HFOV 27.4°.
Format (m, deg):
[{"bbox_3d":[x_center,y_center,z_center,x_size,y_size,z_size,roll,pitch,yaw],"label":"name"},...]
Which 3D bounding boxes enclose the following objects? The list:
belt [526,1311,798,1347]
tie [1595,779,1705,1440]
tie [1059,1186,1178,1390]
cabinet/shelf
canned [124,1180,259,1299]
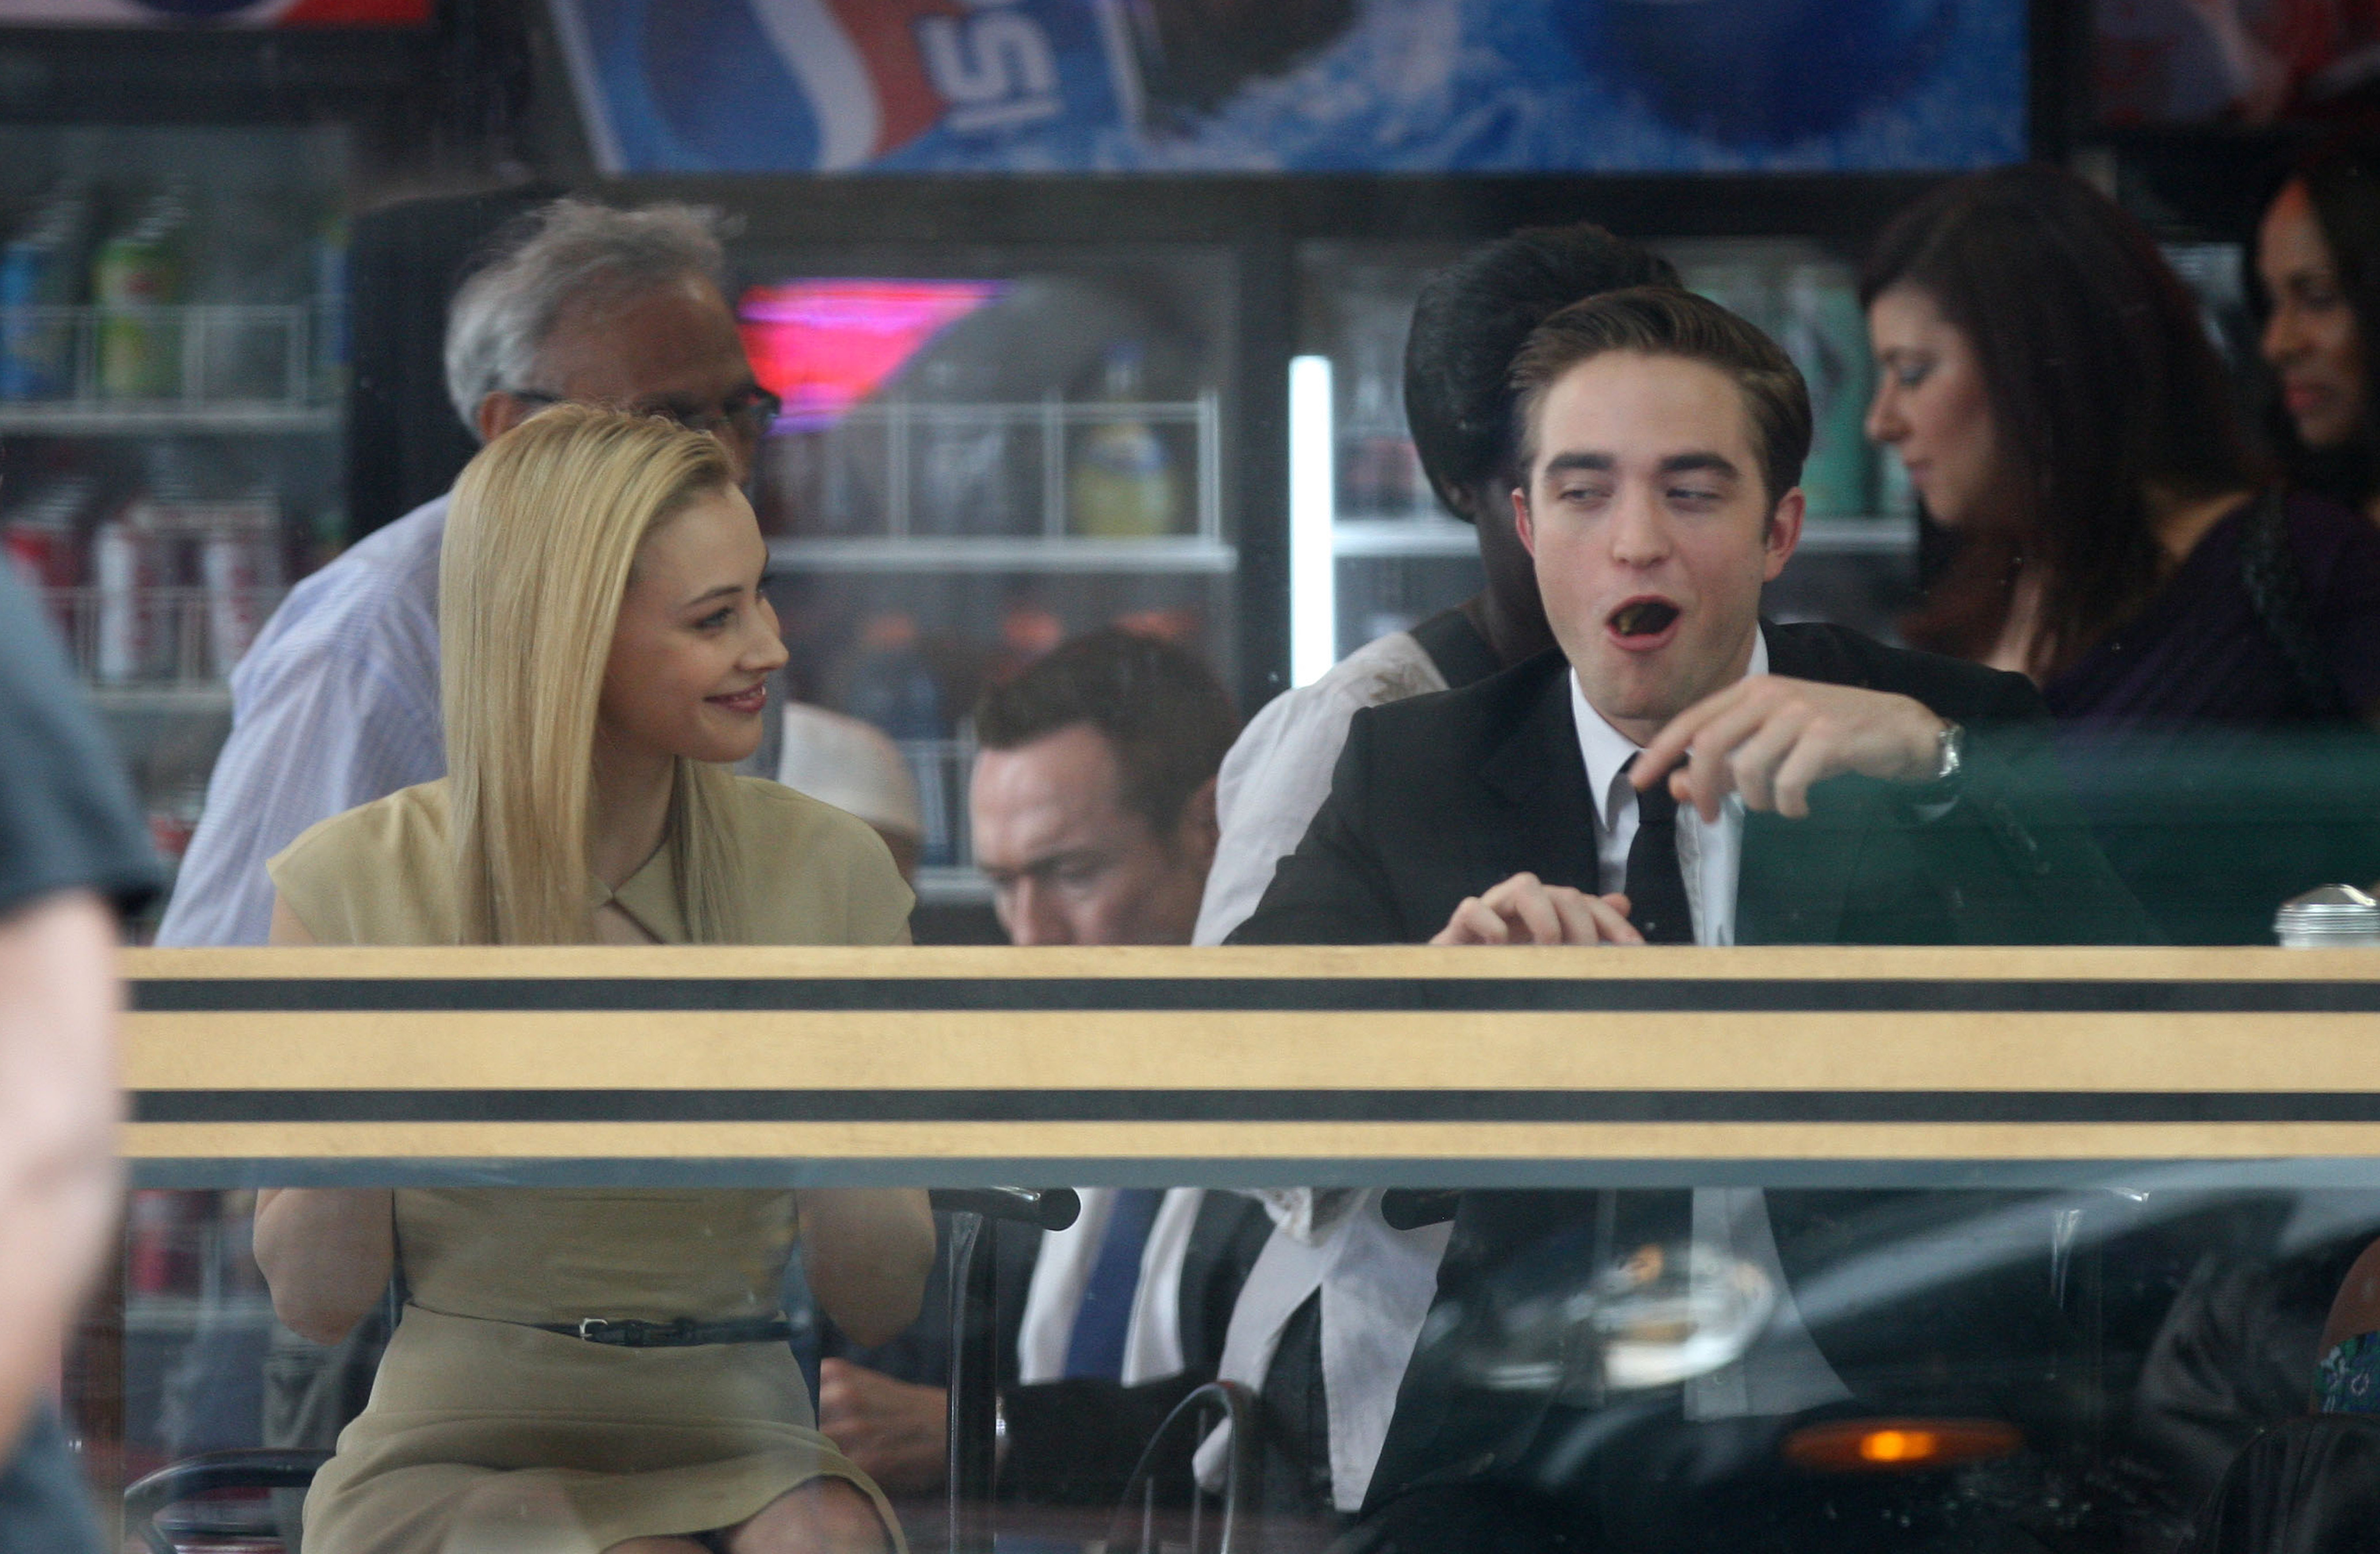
[{"bbox_3d":[-0.531,0.550,4.897,0.211,0.035,0.028,1,13,4],"label":"belt"},{"bbox_3d":[0.452,0.297,4.750,0.108,0.655,0.103,-1,0,8],"label":"tie"},{"bbox_3d":[-0.081,0.504,4.902,0.105,0.015,0.397,0,-32,-3],"label":"tie"},{"bbox_3d":[-0.089,0.093,5.063,2.348,1.781,0.704,0,-3,1],"label":"cabinet/shelf"},{"bbox_3d":[-0.979,0.445,4.773,0.155,0.123,0.075,0,-2,-3],"label":"canned"}]
